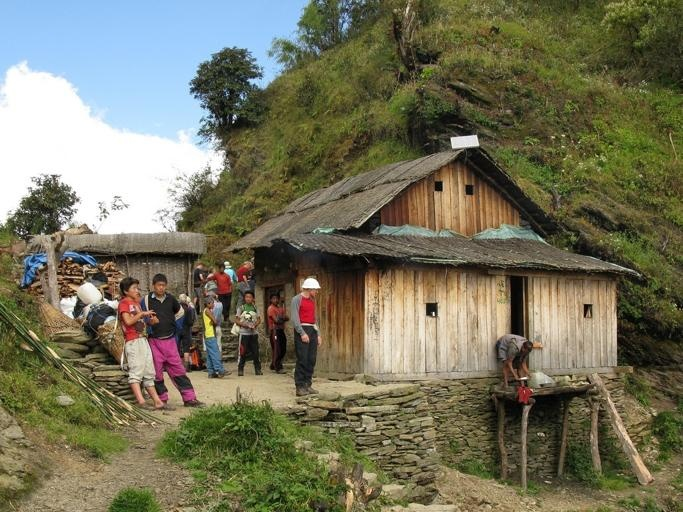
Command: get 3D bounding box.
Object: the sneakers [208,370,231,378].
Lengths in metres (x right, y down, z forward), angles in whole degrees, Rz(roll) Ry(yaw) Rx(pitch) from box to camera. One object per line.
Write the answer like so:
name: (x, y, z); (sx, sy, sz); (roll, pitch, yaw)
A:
sneakers: (-3.272, 3.192, 19.983); (0.590, 0.263, 0.203); (-3, 0, -7)

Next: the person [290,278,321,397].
person: (-0.816, 1.884, 17.250); (0.598, 2.728, 0.785); (-2, -2, 31)

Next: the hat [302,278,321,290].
hat: (-0.702, 0.656, 17.359); (0.324, 0.192, 0.359); (2, -4, -5)

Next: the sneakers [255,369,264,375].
sneakers: (-2.264, 3.236, 20.525); (0.095, 0.190, 0.272); (3, -23, -19)

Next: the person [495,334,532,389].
person: (4.904, 2.944, 20.844); (0.837, 1.351, 1.106); (3, 6, -23)

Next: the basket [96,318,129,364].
basket: (-4.966, 1.822, 16.044); (0.424, 0.912, 0.675); (-25, 2, -40)
